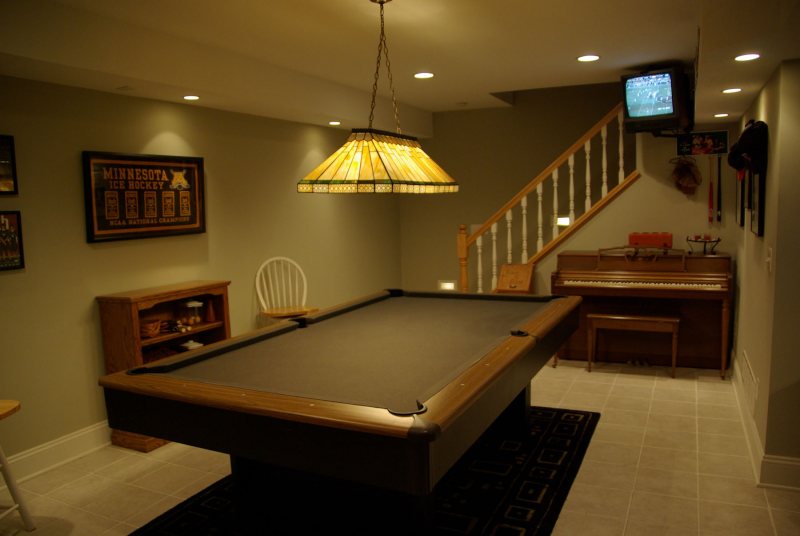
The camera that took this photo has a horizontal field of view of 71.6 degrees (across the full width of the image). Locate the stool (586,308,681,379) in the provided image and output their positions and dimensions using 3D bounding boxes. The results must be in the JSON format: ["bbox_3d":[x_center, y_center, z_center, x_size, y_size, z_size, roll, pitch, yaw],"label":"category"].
[{"bbox_3d":[2.513,0.690,5.974,1.069,0.761,0.621,-1,-3,24],"label":"stool"}]

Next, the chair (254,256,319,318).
[{"bbox_3d":[-1.269,0.235,6.594,0.707,0.992,0.657,-5,6,-42],"label":"chair"}]

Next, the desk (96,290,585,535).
[{"bbox_3d":[-0.138,1.031,3.755,1.851,1.227,2.661,8,16,37],"label":"desk"}]

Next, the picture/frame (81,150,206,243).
[{"bbox_3d":[-2.373,-0.658,5.068,0.039,0.652,0.928,3,6,34],"label":"picture/frame"}]

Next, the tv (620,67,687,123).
[{"bbox_3d":[2.497,-1.681,5.591,0.644,0.600,0.461,2,7,43],"label":"tv"}]
